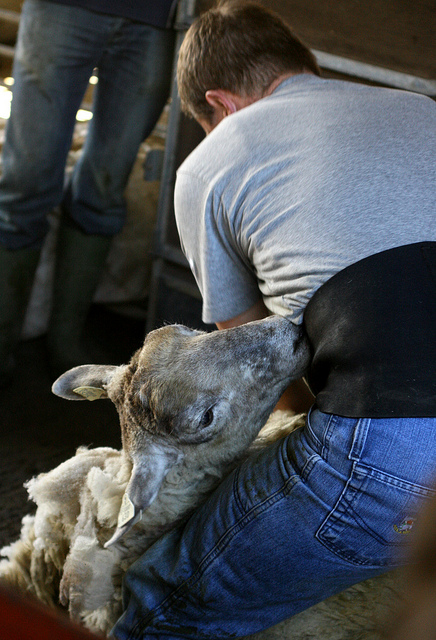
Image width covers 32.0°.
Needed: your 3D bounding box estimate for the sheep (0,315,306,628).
[{"bbox_3d":[-0.129,0.294,1.416,0.253,0.643,0.322,55,20,14],"label":"sheep"}]
